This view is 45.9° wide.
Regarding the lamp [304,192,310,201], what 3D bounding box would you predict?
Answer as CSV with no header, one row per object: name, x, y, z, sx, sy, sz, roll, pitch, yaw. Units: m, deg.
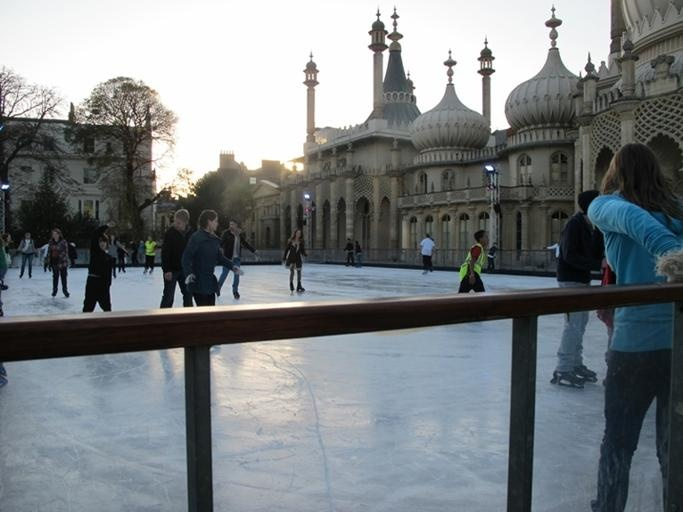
lamp,-1.849,-3.193,42.549,0.367,0.409,0.658,-1,2,1

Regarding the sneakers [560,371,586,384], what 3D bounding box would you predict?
sneakers,1.108,0.580,3.908,0.127,0.087,0.053,-3,10,-18

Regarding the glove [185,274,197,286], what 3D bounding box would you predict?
glove,-1.696,0.253,9.029,0.089,0.123,0.127,-3,2,-4
